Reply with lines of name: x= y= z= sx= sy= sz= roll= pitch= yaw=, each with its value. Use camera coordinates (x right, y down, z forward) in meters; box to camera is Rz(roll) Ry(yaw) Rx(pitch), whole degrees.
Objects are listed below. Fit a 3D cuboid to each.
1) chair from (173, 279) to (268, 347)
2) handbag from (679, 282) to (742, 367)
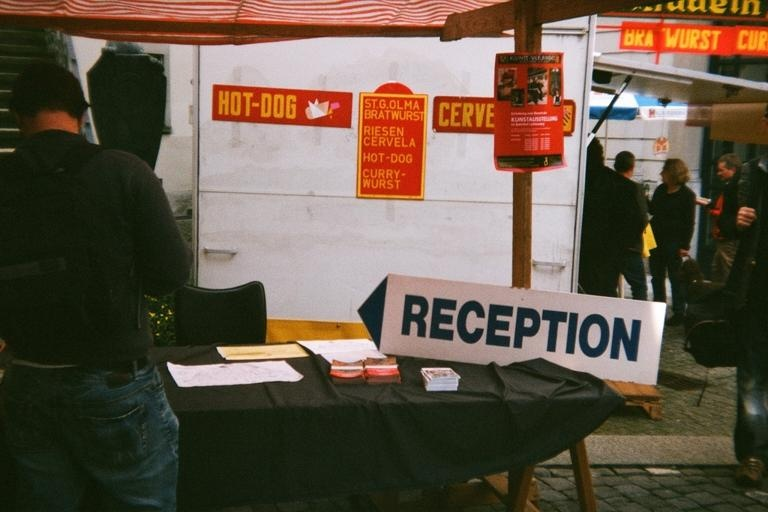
chair: x=-1.195 y=0.414 z=5.742 sx=0.485 sy=0.679 sz=0.542 roll=0 pitch=0 yaw=-7
handbag: x=2.624 y=0.527 z=6.016 sx=0.594 sy=0.591 sz=0.433 roll=8 pitch=7 yaw=36
